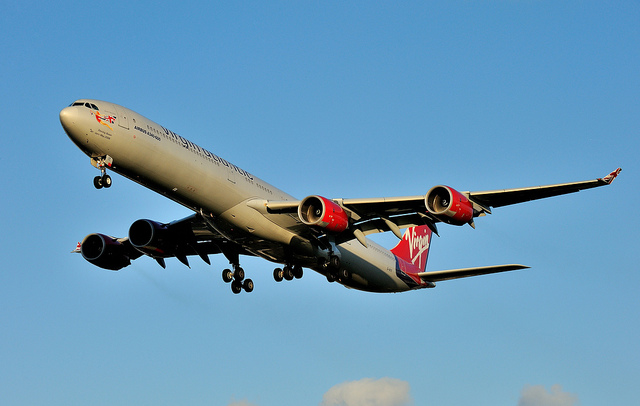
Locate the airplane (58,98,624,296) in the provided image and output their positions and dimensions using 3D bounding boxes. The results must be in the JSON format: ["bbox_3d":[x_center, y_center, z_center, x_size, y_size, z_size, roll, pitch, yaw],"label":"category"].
[{"bbox_3d":[-2.130,0.374,45.466,13.629,4.037,11.785,-15,-39,39],"label":"airplane"}]
